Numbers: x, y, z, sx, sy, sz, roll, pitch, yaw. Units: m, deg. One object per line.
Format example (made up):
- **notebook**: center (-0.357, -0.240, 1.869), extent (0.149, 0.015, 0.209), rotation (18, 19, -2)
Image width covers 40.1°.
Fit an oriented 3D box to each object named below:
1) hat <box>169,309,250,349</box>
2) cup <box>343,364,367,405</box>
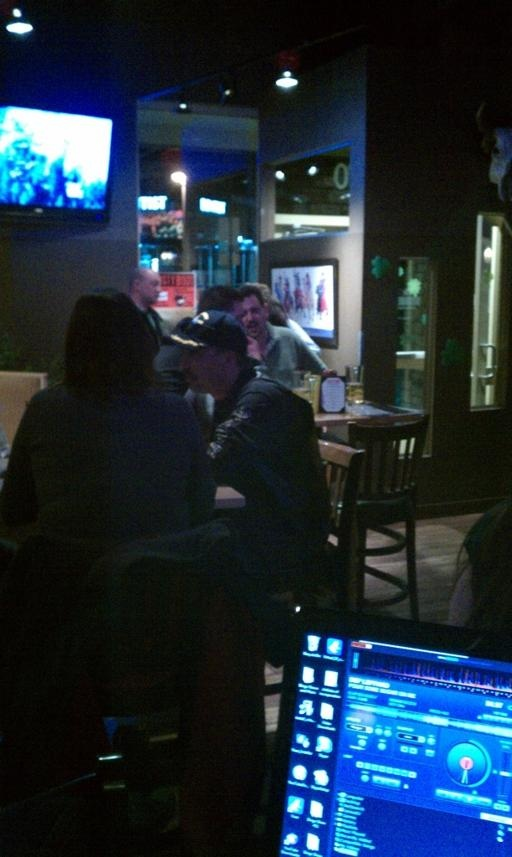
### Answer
- **hat**: center (-0.096, -0.224, 1.646), extent (0.132, 0.076, 0.098), rotation (16, 12, -13)
- **cup**: center (0.476, -0.211, 3.368), extent (0.088, 0.180, 0.299), rotation (3, 7, 8)
